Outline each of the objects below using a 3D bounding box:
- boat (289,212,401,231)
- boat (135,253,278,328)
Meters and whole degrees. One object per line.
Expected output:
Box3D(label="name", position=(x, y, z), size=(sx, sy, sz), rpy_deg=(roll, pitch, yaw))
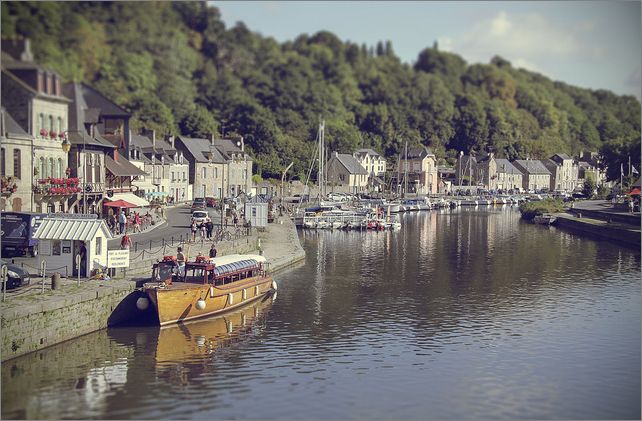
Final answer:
Box3D(label="boat", position=(4.827, 1.363, 172.622), size=(18.915, 2.631, 13.418), rpy_deg=(2, 6, -3))
Box3D(label="boat", position=(-12.952, 8.712, 110.387), size=(5.700, 7.253, 17.095), rpy_deg=(7, 8, 42))
